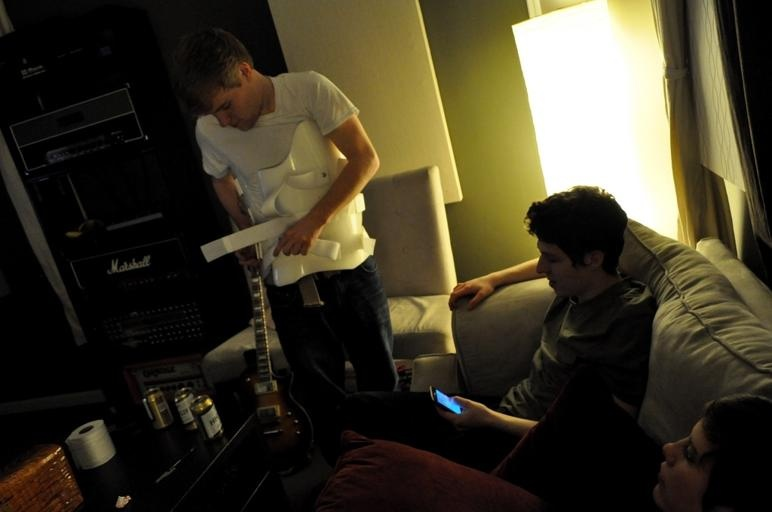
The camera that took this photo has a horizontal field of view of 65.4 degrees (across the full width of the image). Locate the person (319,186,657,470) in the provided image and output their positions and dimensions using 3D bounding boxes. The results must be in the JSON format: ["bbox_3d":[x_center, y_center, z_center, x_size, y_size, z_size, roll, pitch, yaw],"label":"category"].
[{"bbox_3d":[0.394,0.109,2.678,1.229,1.315,0.841,2,19,8],"label":"person"}]

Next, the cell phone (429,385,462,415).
[{"bbox_3d":[0.229,0.554,2.301,0.015,0.138,0.077,-43,18,24],"label":"cell phone"}]

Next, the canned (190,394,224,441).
[{"bbox_3d":[-0.821,0.739,2.722,0.113,0.198,0.116,-19,9,35],"label":"canned"}]
